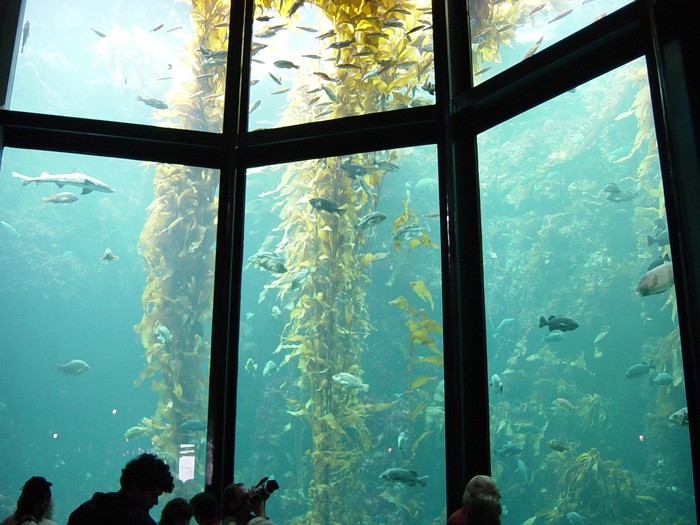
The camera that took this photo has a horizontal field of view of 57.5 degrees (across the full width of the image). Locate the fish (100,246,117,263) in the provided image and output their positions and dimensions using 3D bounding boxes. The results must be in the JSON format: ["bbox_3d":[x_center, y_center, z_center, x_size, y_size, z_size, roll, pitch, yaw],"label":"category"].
[{"bbox_3d":[-1.995,-0.061,5.282,0.109,0.115,0.034,7,-6,-9],"label":"fish"}]

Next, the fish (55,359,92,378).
[{"bbox_3d":[-2.147,0.837,5.004,0.269,0.158,0.101,1,-7,-13],"label":"fish"}]

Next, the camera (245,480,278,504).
[{"bbox_3d":[-0.615,1.593,4.500,0.184,0.135,0.079,-35,-33,-32],"label":"camera"}]
